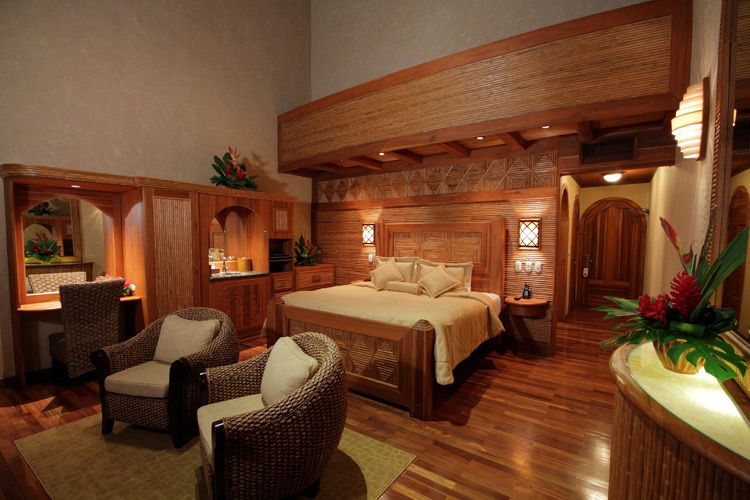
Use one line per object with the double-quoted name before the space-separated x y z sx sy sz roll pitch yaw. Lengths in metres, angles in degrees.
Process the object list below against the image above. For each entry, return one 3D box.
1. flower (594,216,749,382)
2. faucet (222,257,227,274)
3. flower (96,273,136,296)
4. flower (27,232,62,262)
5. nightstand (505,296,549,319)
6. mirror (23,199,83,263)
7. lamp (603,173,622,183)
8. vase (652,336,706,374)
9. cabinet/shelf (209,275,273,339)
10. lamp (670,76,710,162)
"flower" 2.476 0.395 3.838 0.870 1.286 0.610 2 6 37
"faucet" -2.532 0.255 7.936 0.064 0.259 0.200 -3 5 -14
"flower" -3.627 0.502 6.613 0.465 0.159 0.393 3 2 -11
"flower" -4.359 -0.012 6.216 0.344 0.272 0.317 4 -3 37
"nightstand" 2.249 0.893 6.978 0.655 0.335 0.352 -1 5 16
"mirror" -4.267 -0.270 6.338 0.747 0.981 0.728 0 2 0
"lamp" 4.052 -1.219 8.078 0.290 0.105 0.284 -1 4 6
"vase" 2.446 0.836 3.808 0.306 0.219 0.309 -6 -13 39
"cabinet/shelf" -2.057 0.870 7.126 0.413 1.049 1.083 -2 -2 27
"lamp" 3.066 -1.230 4.546 0.271 0.743 0.344 -5 6 -28
